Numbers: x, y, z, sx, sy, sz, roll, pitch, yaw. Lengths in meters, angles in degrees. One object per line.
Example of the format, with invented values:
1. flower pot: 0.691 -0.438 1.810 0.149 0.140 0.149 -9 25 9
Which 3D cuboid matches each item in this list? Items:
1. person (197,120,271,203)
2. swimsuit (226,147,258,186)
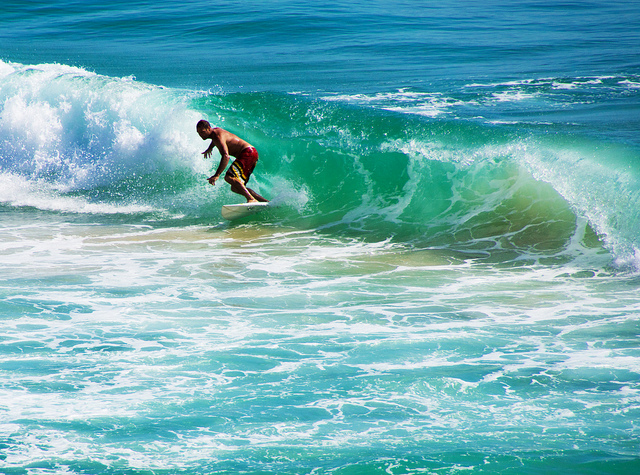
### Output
1. person: -1.617 -1.337 14.081 0.663 1.438 1.333 8 2 34
2. swimsuit: -1.381 -1.300 14.149 0.423 0.653 0.314 7 1 -37
